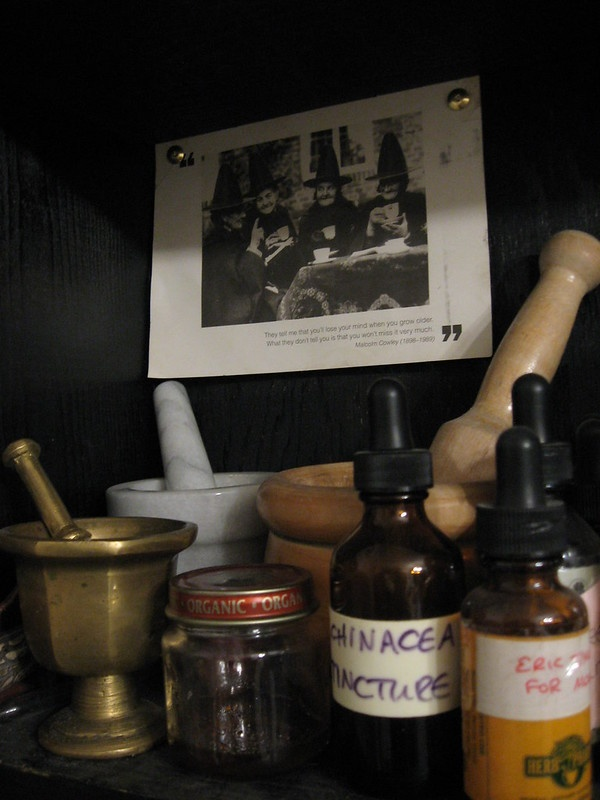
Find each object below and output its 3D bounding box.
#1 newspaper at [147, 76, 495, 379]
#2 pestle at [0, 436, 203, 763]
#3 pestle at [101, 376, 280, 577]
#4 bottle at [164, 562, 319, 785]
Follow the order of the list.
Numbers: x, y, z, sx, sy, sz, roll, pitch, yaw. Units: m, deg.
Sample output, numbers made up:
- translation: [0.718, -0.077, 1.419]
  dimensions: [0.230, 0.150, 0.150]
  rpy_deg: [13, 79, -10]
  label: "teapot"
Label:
- translation: [0.034, -0.182, 0.822]
  dimensions: [0.384, 0.245, 0.005]
  rpy_deg: [-1, 1, 26]
  label: "newspaper"
- translation: [-0.184, 0.138, 0.614]
  dimensions: [0.217, 0.177, 0.129]
  rpy_deg: [-1, 2, 33]
  label: "pestle"
- translation: [-0.100, 0.087, 0.758]
  dimensions: [0.153, 0.191, 0.148]
  rpy_deg: [-2, 9, 1]
  label: "pestle"
- translation: [-0.036, 0.186, 0.556]
  dimensions: [0.128, 0.121, 0.116]
  rpy_deg: [-2, -2, -2]
  label: "bottle"
